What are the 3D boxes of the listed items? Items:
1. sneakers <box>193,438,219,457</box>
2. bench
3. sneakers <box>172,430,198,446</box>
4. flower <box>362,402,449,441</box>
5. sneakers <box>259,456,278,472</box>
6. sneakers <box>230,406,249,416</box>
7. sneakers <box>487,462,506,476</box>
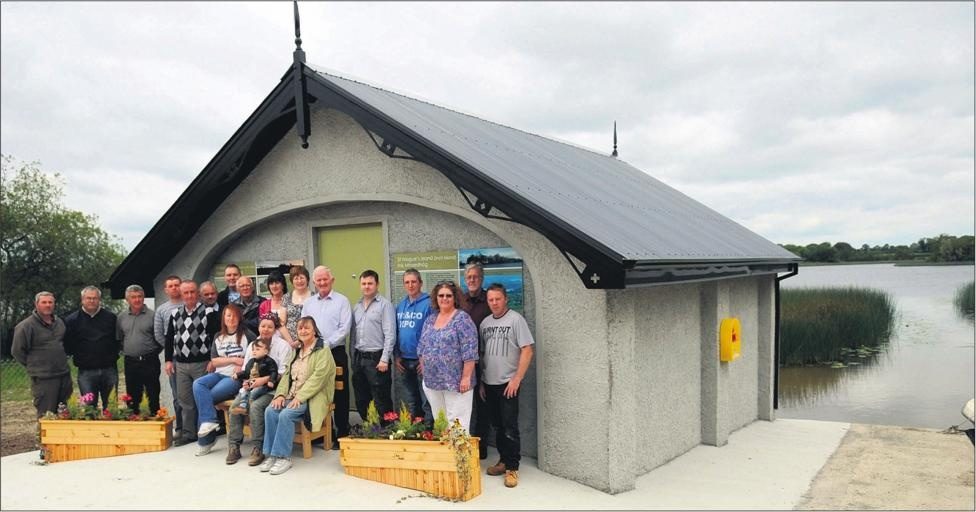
[{"bbox_3d":[-7.126,4.796,21.279,0.261,0.265,0.638,-8,13,33],"label":"sneakers"},{"bbox_3d":[-5.475,3.817,21.130,3.455,2.123,1.237,2,15,9],"label":"bench"},{"bbox_3d":[-7.803,4.643,21.646,0.736,0.258,0.240,8,-11,-39],"label":"sneakers"},{"bbox_3d":[-2.035,4.041,20.290,1.495,0.471,1.086,-1,-4,21],"label":"flower"},{"bbox_3d":[-5.374,5.037,20.527,0.235,0.239,0.599,-4,-1,10],"label":"sneakers"},{"bbox_3d":[-6.182,3.777,20.816,0.434,0.220,0.198,-3,24,11],"label":"sneakers"},{"bbox_3d":[0.071,5.101,20.320,0.604,0.237,0.207,6,-7,-24],"label":"sneakers"}]
